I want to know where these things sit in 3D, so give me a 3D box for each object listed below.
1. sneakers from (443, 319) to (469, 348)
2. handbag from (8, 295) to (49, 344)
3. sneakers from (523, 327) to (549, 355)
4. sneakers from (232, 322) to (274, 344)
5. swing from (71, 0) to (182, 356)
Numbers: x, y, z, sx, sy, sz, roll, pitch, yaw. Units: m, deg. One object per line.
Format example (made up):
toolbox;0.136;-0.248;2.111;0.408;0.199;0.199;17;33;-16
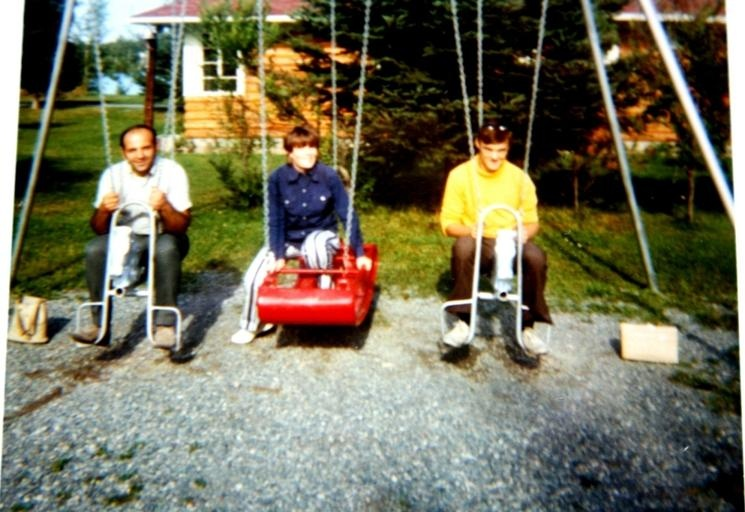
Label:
sneakers;0.626;0.612;4.412;0.189;0.189;0.282;5;13;7
handbag;-2.777;0.512;4.707;0.294;0.342;0.236;-1;13;-19
sneakers;1.224;0.691;4.432;0.148;0.099;0.269;-5;32;3
sneakers;-0.961;0.628;4.724;0.254;0.105;0.090;-22;63;-19
swing;-1.827;-0.123;4.435;0.832;1.707;0.798;-1;13;-16
